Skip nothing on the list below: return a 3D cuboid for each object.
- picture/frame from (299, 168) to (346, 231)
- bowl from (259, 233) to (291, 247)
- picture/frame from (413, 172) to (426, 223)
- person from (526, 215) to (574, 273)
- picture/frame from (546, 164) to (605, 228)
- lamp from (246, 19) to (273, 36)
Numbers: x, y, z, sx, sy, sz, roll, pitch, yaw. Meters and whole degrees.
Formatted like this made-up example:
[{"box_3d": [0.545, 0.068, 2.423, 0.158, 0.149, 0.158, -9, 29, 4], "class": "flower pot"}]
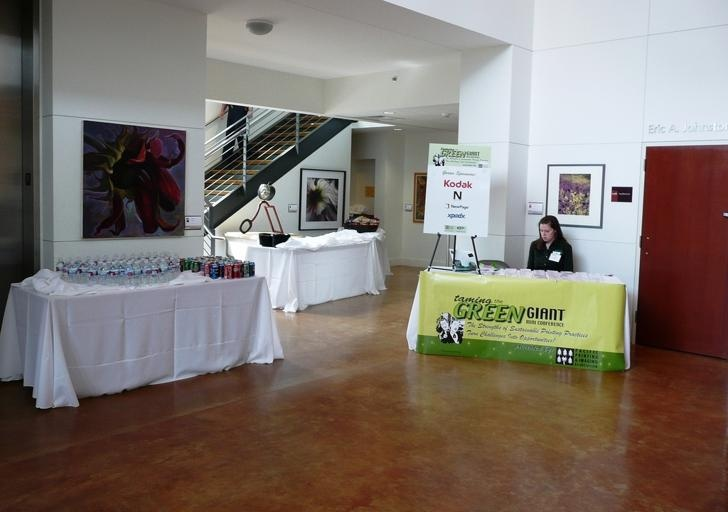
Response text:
[{"box_3d": [-1.086, -1.395, 12.029, 0.104, 1.736, 1.493, 3, 5, 41], "class": "picture/frame"}, {"box_3d": [-1.557, -0.279, 8.504, 0.259, 0.133, 0.345, 6, 9, 41], "class": "bowl"}, {"box_3d": [1.471, -1.559, 13.272, 0.135, 1.377, 0.405, -6, 10, -45], "class": "picture/frame"}, {"box_3d": [2.553, -0.158, 6.739, 0.566, 0.743, 0.322, 4, 8, 18], "class": "person"}, {"box_3d": [3.023, -0.910, 7.098, 0.799, 0.969, 0.032, 16, 46, 35], "class": "picture/frame"}, {"box_3d": [-1.534, -3.367, 7.225, 0.395, 0.103, 0.409, 0, 9, -13], "class": "lamp"}]
